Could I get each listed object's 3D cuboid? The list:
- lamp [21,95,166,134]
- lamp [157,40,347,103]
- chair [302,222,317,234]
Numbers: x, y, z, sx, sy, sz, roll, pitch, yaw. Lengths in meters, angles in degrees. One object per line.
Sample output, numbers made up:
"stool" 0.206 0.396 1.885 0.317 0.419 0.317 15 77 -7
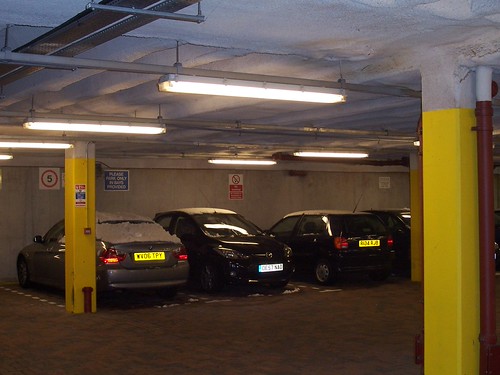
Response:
"lamp" -2.728 -1.242 9.002 2.311 0.487 0.600 0 -1 -18
"lamp" 0.055 -1.338 6.277 2.323 0.414 0.397 2 -13 -23
"chair" 1.599 1.111 13.850 0.345 0.375 0.348 1 -10 0
